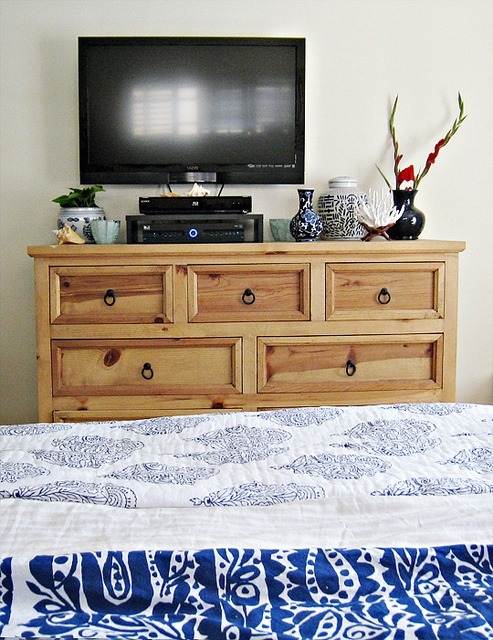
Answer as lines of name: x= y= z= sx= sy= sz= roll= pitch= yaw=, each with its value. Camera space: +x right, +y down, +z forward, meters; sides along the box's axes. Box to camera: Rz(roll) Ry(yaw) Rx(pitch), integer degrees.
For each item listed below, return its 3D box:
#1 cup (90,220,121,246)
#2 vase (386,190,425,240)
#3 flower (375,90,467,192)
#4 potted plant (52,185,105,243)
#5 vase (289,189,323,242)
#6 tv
cup: x=-0.469 y=-0.289 z=2.208 sx=0.109 sy=0.067 sz=0.098 roll=1 pitch=4 yaw=-4
vase: x=0.564 y=-0.363 z=2.366 sx=0.195 sy=0.199 sz=0.180 roll=2 pitch=6 yaw=16
flower: x=0.639 y=-0.688 z=2.582 sx=0.265 sy=0.375 sz=0.411 roll=9 pitch=15 yaw=35
potted plant: x=-0.562 y=-0.389 z=2.417 sx=0.162 sy=0.183 sz=0.146 roll=-15 pitch=25 yaw=-18
vase: x=0.198 y=-0.351 z=2.268 sx=0.107 sy=0.176 sz=0.260 roll=1 pitch=12 yaw=4
tv: x=-0.238 y=-0.797 z=2.494 sx=0.736 sy=0.399 sz=0.047 roll=0 pitch=6 yaw=-3
